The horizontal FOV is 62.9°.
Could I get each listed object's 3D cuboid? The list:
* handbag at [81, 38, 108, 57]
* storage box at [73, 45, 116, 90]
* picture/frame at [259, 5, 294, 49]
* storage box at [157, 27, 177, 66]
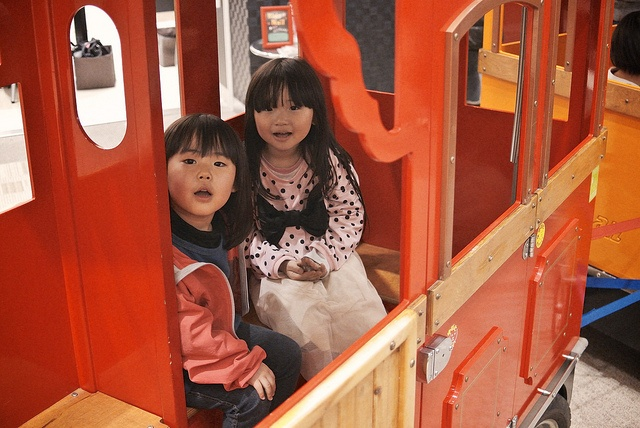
[{"bbox_3d":[-0.598,-0.436,1.384,0.040,0.025,0.070,-30,3,23],"label":"handbag"},{"bbox_3d":[-0.597,-0.392,1.457,0.130,0.103,0.135,-6,23,-12],"label":"storage box"},{"bbox_3d":[-0.426,-1.841,5.162,0.318,0.391,0.269,-2,24,-3],"label":"picture/frame"},{"bbox_3d":[-1.534,-1.655,5.242,0.173,0.394,0.383,-7,25,-15],"label":"storage box"}]
